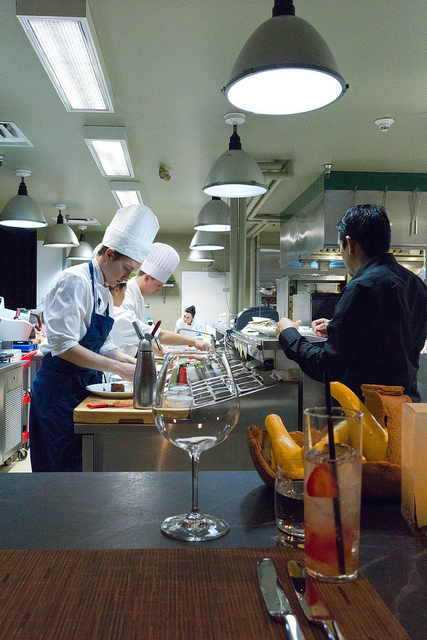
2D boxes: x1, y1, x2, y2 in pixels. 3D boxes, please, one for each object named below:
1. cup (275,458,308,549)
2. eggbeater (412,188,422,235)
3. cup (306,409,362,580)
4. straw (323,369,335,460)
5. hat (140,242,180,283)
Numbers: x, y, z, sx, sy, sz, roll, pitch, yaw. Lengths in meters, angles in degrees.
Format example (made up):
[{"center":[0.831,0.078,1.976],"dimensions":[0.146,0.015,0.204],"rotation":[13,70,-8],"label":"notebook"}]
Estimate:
[{"center":[0.095,0.228,0.584],"dimensions":[0.036,0.096,0.065],"rotation":[-1,-5,7],"label":"cup"},{"center":[2.086,-1.110,4.759],"dimensions":[0.085,0.461,0.072],"rotation":[-4,-7,36],"label":"eggbeater"},{"center":[0.126,0.184,0.485],"dimensions":[0.059,0.162,0.070],"rotation":[-2,-6,16],"label":"cup"},{"center":[0.130,0.102,0.523],"dimensions":[0.012,0.106,0.012],"rotation":[1,-14,-5],"label":"straw"},{"center":[-0.373,-0.402,3.382],"dimensions":[0.277,0.278,0.171],"rotation":[1,3,-16],"label":"hat"}]
